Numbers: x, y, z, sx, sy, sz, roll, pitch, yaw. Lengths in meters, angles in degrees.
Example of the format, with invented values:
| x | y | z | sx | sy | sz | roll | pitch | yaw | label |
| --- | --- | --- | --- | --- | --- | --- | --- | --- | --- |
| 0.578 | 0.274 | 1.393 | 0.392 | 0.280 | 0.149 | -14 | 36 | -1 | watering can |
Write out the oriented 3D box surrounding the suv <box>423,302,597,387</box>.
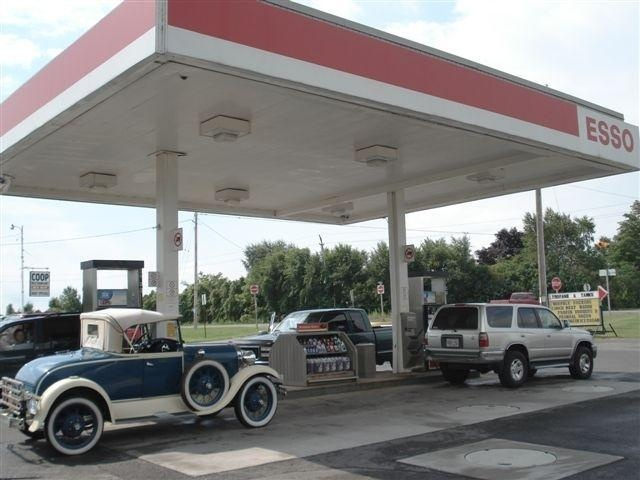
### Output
| x | y | z | sx | sy | sz | roll | pitch | yaw | label |
| --- | --- | --- | --- | --- | --- | --- | --- | --- | --- |
| 5.561 | 2.850 | 16.270 | 5.135 | 2.289 | 2.054 | 0 | -2 | -21 | suv |

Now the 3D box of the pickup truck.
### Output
| x | y | z | sx | sy | sz | roll | pitch | yaw | label |
| --- | --- | --- | --- | --- | --- | --- | --- | --- | --- |
| 0.252 | 2.677 | 17.673 | 2.070 | 1.415 | 3.908 | -9 | -13 | 41 | pickup truck |
